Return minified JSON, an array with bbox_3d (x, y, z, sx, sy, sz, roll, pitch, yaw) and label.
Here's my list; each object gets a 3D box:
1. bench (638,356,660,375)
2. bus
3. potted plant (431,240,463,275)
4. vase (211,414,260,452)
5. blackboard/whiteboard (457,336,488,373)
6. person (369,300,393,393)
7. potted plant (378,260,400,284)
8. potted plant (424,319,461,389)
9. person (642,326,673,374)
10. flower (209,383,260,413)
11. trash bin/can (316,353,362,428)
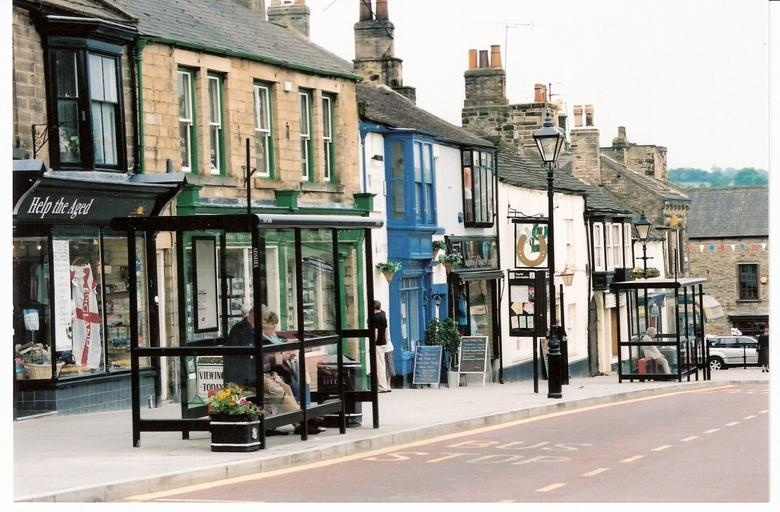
[{"bbox_3d":[8.287,3.385,46.589,0.687,0.523,0.210,-1,-3,-15],"label":"bench"},{"bbox_3d":[9.060,2.234,47.657,2.499,3.879,1.622,-1,-1,29],"label":"bus"},{"bbox_3d":[1.859,-0.034,47.725,1.096,0.902,1.122,3,1,-5],"label":"potted plant"},{"bbox_3d":[-3.238,3.664,30.916,0.912,0.679,0.848,-1,-5,4],"label":"vase"},{"bbox_3d":[2.644,3.015,46.168,1.123,1.321,0.858,-1,-14,19],"label":"blackboard/whiteboard"},{"bbox_3d":[-0.238,2.535,41.374,0.778,2.397,0.614,0,-1,4],"label":"person"},{"bbox_3d":[0.048,0.407,44.693,0.673,0.568,0.656,-6,-6,30],"label":"potted plant"},{"bbox_3d":[1.618,3.019,46.613,1.023,2.104,0.926,5,-2,27],"label":"potted plant"},{"bbox_3d":[8.481,2.933,46.501,0.840,1.502,0.356,-4,-3,26],"label":"person"},{"bbox_3d":[-3.239,2.965,30.949,0.786,0.399,0.738,2,-5,11],"label":"flower"},{"bbox_3d":[-1.141,2.962,33.064,1.371,1.669,0.848,2,1,-7],"label":"trash bin/can"}]
